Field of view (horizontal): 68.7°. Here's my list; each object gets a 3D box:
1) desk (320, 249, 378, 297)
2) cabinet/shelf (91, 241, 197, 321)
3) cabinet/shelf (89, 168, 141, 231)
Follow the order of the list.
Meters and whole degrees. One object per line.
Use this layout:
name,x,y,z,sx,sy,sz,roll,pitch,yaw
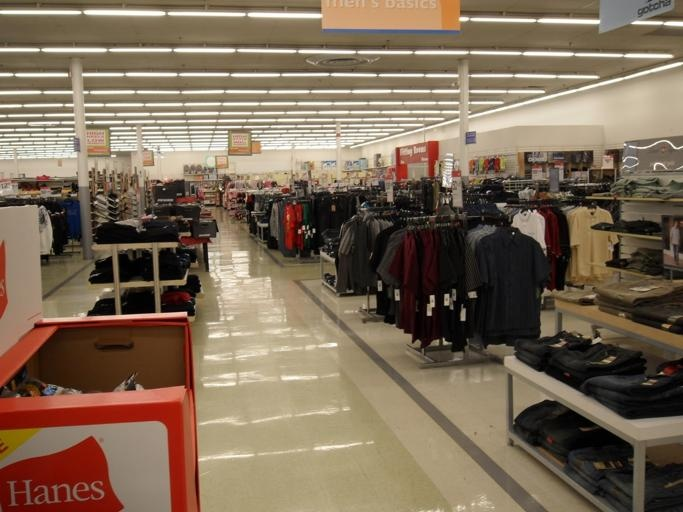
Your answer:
desk,-0.041,0.447,8.629,0.608,0.512,1.449,9,15,-5
cabinet/shelf,-2.513,0.320,6.247,1.106,0.952,0.983,-2,0,-13
cabinet/shelf,-6.766,-1.807,14.952,1.248,1.653,3.623,-6,10,-22
